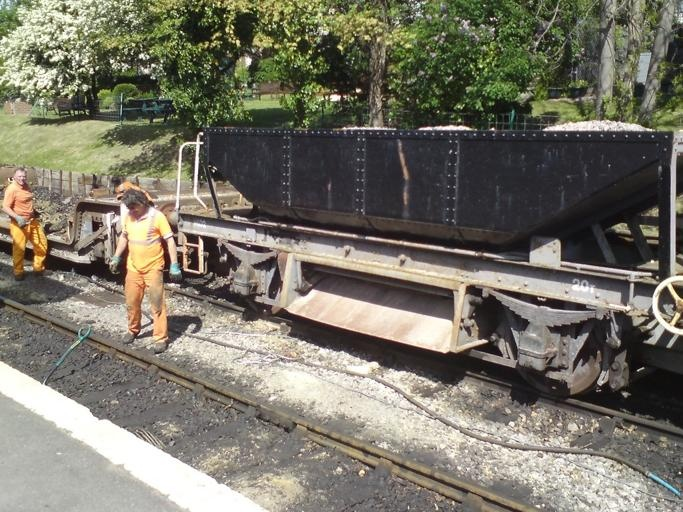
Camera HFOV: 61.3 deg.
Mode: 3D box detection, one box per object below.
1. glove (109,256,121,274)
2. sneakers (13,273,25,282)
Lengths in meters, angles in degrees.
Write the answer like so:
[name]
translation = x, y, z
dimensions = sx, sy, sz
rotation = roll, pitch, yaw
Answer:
[glove]
translation = -3.826, 0.137, 9.648
dimensions = 0.229, 0.362, 0.122
rotation = 3, 0, 7
[sneakers]
translation = -6.429, 0.423, 11.445
dimensions = 0.153, 0.183, 0.165
rotation = -1, -5, 23
